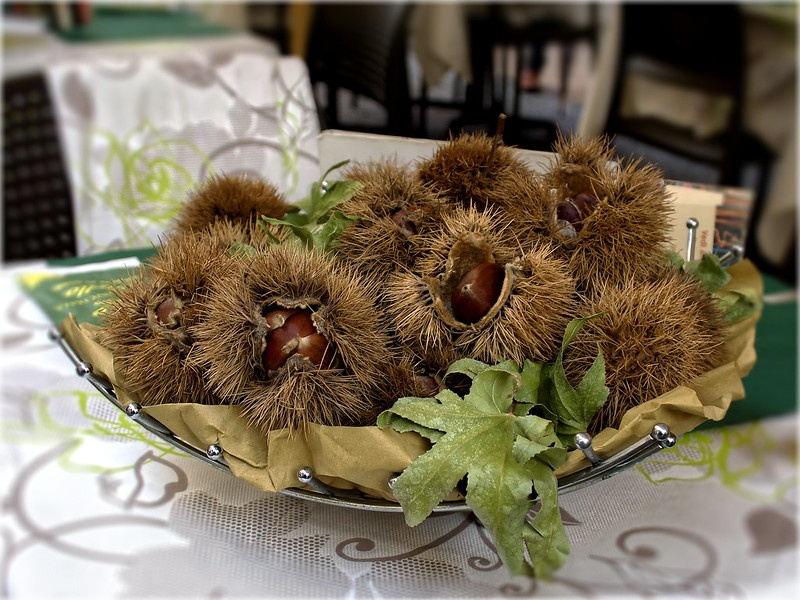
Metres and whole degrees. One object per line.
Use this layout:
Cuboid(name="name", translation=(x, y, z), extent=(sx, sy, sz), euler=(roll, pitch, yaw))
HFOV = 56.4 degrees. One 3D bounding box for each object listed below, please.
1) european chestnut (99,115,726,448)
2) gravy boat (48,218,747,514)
Cuboid(name="european chestnut", translation=(0.013, 0.028, 0.935), extent=(0.604, 0.248, 0.431), euler=(-5, 14, 18))
Cuboid(name="gravy boat", translation=(0.018, 0.090, 0.856), extent=(0.478, 0.128, 0.356), euler=(-2, 13, -1))
